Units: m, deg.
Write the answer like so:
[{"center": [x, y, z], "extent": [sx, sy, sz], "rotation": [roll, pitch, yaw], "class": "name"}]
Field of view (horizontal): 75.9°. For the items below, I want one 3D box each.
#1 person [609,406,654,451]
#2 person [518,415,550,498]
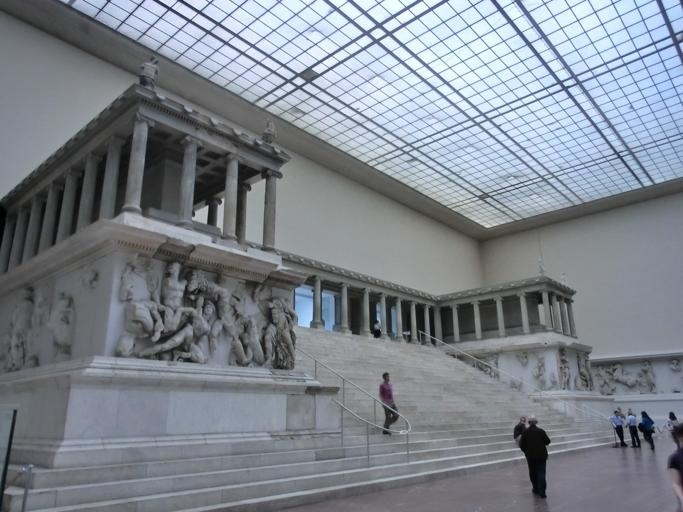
[{"center": [12.776, 7.554, 19.227], "extent": [1.554, 1.399, 0.518], "rotation": [-3, -16, 13], "class": "person"}, {"center": [4.142, 4.197, 9.338], "extent": [0.585, 1.478, 1.130], "rotation": [-8, -21, 23], "class": "person"}]
